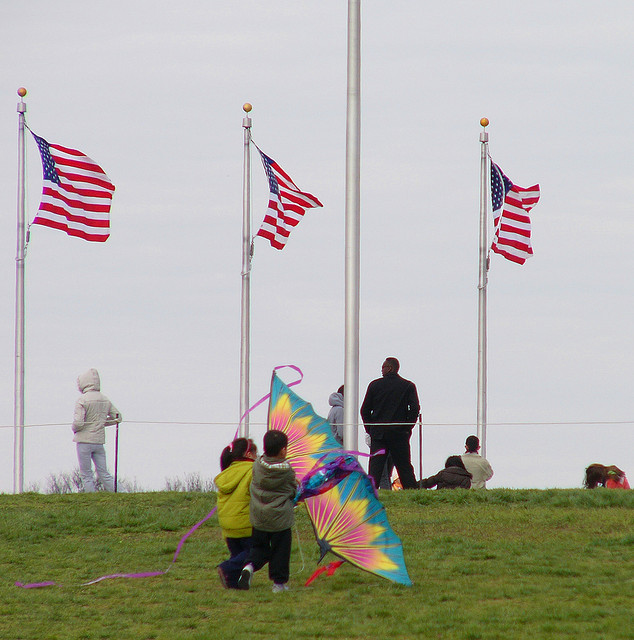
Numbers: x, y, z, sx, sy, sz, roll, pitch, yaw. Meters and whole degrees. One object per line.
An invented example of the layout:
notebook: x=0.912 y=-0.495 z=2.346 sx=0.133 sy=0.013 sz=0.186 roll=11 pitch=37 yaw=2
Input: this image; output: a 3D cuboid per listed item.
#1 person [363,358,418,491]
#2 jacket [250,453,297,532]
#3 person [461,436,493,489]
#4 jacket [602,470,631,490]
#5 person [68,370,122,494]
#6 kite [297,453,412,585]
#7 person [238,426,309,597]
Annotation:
person: x=0.901 y=1.349 z=26.915 sx=0.649 sy=1.828 sz=0.582 roll=-4 pitch=-19 yaw=8
jacket: x=-0.446 y=1.633 z=22.134 sx=0.342 sy=0.818 sz=0.442 roll=-1 pitch=2 yaw=-8
person: x=1.842 y=1.811 z=26.956 sx=0.360 sy=0.901 sz=0.440 roll=4 pitch=18 yaw=16
jacket: x=3.490 y=1.929 z=26.704 sx=0.309 sy=0.197 sz=0.679 roll=0 pitch=9 yaw=5
person: x=-2.763 y=1.400 z=27.738 sx=0.688 sy=1.522 sz=0.371 roll=-7 pitch=10 yaw=-38
kite: x=0.326 y=1.982 z=22.605 sx=1.222 sy=1.147 sz=0.571 roll=-36 pitch=-13 yaw=-44
person: x=-0.431 y=1.784 z=22.917 sx=0.662 sy=1.640 sz=2.047 roll=-1 pitch=8 yaw=2
